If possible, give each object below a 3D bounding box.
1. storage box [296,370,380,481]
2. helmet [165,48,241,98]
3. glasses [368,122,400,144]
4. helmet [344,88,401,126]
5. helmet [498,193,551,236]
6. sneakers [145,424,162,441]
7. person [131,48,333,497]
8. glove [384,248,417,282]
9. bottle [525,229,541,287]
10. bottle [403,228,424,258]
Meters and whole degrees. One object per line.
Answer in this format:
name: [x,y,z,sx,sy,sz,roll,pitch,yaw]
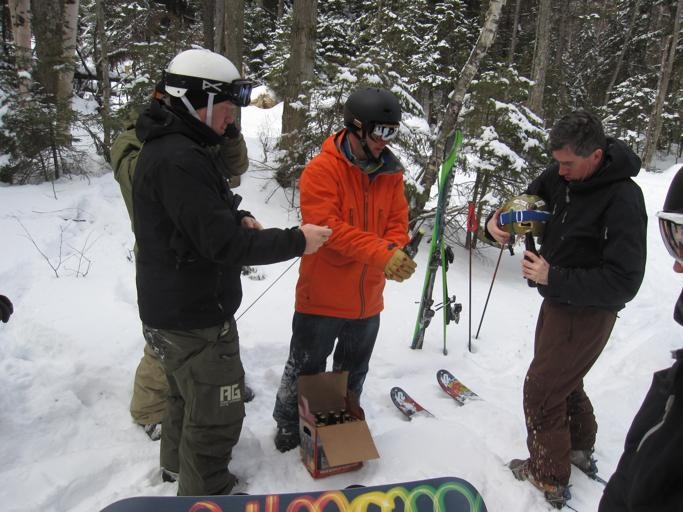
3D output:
storage box: [-0.104,1.335,4.606,0.588,0.874,0.782,-3,7,-23]
helmet: [-1.034,-1.351,4.072,0.423,0.388,0.340,-8,25,-12]
glasses: [0.306,-0.971,4.399,0.139,0.097,0.179,12,10,-34]
helmet: [0.247,-1.203,4.542,0.371,0.312,0.489,-16,20,-39]
helmet: [1.529,-0.319,4.729,0.327,0.363,0.441,10,-6,-24]
sneakers: [-1.572,1.471,4.663,0.096,0.080,0.236,-18,13,-5]
person: [-1.006,0.167,4.165,0.870,3.199,1.152,-13,25,-43]
glove: [0.440,0.069,4.216,0.219,0.233,0.104,29,16,7]
bottle: [1.514,0.009,4.468,0.134,0.526,0.114,3,-5,25]
bottle: [0.733,-0.114,5.677,0.116,0.106,0.452,27,-22,5]
